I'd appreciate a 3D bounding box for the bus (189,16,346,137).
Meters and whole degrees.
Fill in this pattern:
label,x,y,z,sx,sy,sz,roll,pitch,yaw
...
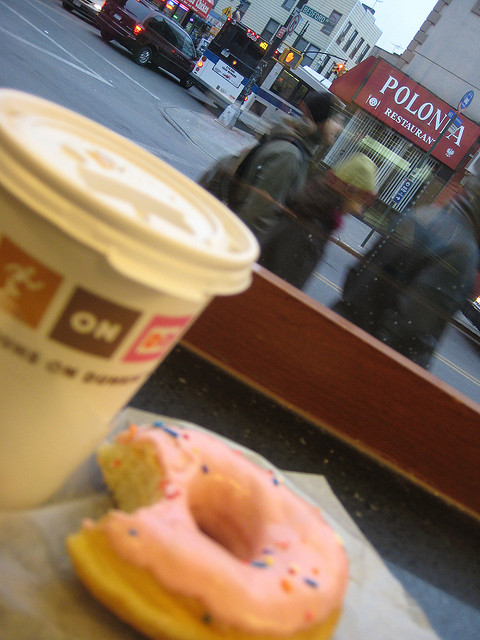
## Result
label,x,y,z,sx,sy,sz,roll,pitch,yaw
bus,0.550,-3.396,7.647,1.014,1.129,2.791,45,25,18
